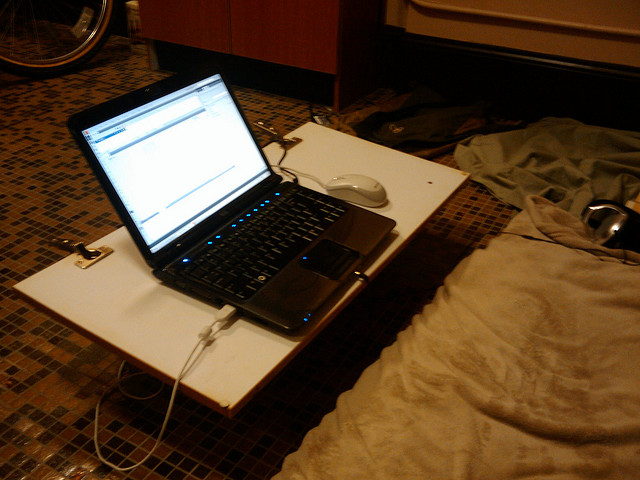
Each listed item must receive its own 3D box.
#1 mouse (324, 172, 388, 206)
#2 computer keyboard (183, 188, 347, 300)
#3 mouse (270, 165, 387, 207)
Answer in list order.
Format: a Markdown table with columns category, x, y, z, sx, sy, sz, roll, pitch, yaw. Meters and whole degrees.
| category | x | y | z | sx | sy | sz | roll | pitch | yaw |
| --- | --- | --- | --- | --- | --- | --- | --- | --- | --- |
| mouse | 0.087 | -0.141 | 1.322 | 0.168 | 0.047 | 0.079 | 9 | 38 | 8 |
| computer keyboard | -0.122 | -0.010 | 1.189 | 0.226 | 0.057 | 0.483 | 22 | 38 | 15 |
| mouse | 0.020 | -0.149 | 1.333 | 0.309 | 0.041 | 0.052 | 13 | 52 | 16 |
